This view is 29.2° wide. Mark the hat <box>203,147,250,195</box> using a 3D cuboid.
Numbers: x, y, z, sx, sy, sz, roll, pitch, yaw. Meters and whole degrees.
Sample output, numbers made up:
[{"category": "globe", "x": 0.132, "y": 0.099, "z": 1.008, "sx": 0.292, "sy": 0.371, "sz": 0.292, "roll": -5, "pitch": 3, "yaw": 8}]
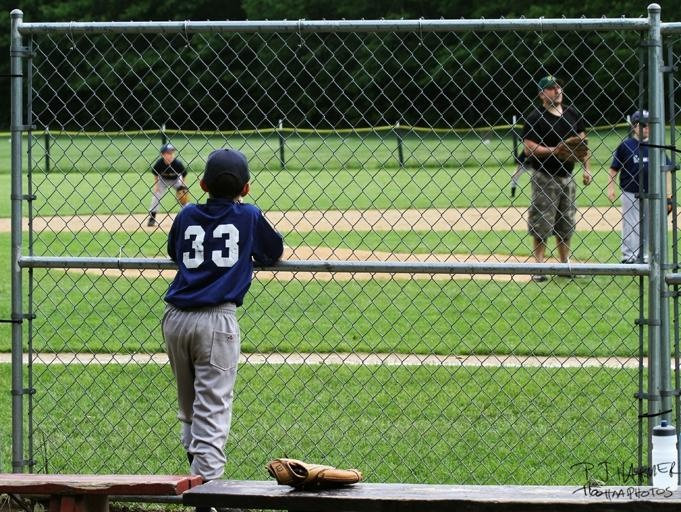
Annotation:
[{"category": "hat", "x": -0.823, "y": -0.654, "z": 9.625, "sx": 0.374, "sy": 0.310, "sz": 0.530, "roll": 0, "pitch": 6, "yaw": -8}]

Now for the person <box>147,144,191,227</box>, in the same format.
[{"category": "person", "x": -2.219, "y": -0.963, "z": 16.786, "sx": 0.568, "sy": 1.040, "sz": 0.907, "roll": -5, "pitch": 18, "yaw": -23}]

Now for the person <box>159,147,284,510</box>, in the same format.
[{"category": "person", "x": -0.869, "y": 0.408, "z": 9.450, "sx": 0.817, "sy": 2.399, "sz": 0.373, "roll": 1, "pitch": -5, "yaw": -3}]
